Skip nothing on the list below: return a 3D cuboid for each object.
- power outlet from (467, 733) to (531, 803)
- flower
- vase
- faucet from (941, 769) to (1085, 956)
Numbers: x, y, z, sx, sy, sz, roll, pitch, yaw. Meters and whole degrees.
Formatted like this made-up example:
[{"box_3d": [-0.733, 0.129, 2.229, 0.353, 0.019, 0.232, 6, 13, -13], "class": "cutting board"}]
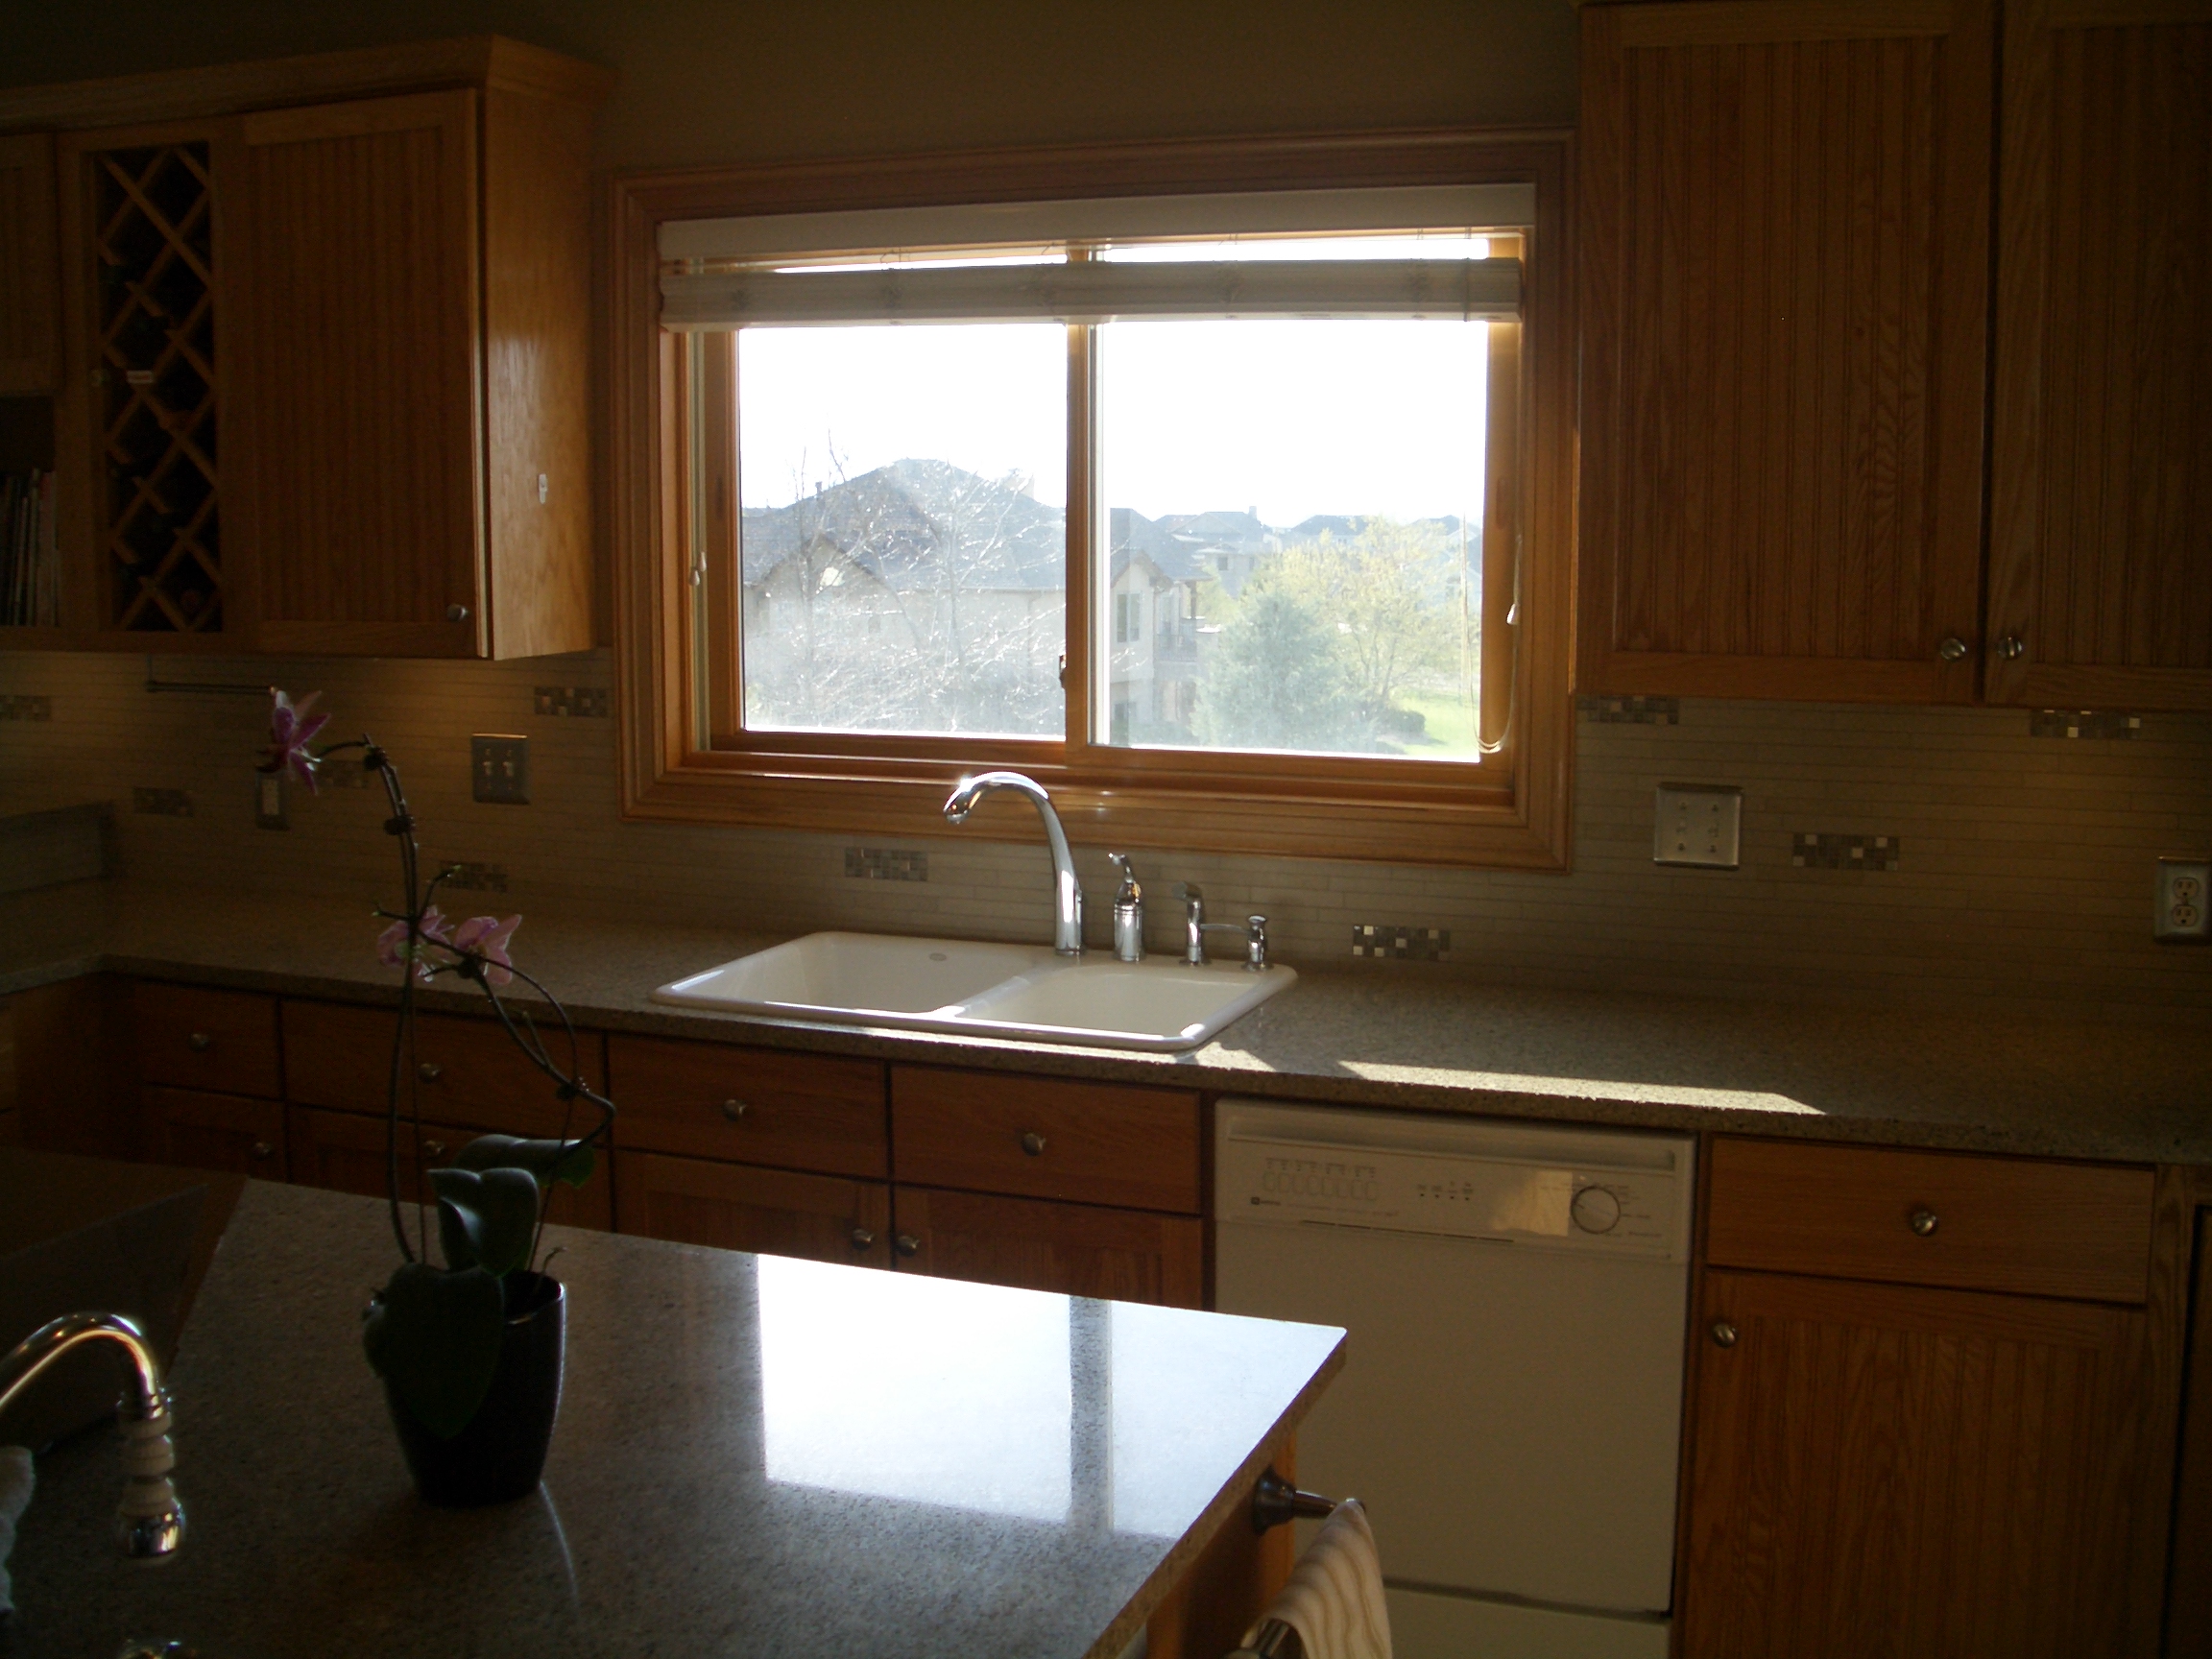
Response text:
[{"box_3d": [-1.327, -0.141, 3.826, 0.134, 0.158, 0.023, 4, 13, 14], "class": "power outlet"}, {"box_3d": [-0.564, 0.242, 1.492, 0.267, 0.712, 0.208, -1, 11, -16], "class": "flower"}, {"box_3d": [-0.554, 0.472, 1.522, 0.149, 0.189, 0.145, 0, -4, -2], "class": "vase"}, {"box_3d": [-0.169, 0.059, 3.396, 0.262, 0.357, 0.306, 1, 10, -3], "class": "faucet"}]
